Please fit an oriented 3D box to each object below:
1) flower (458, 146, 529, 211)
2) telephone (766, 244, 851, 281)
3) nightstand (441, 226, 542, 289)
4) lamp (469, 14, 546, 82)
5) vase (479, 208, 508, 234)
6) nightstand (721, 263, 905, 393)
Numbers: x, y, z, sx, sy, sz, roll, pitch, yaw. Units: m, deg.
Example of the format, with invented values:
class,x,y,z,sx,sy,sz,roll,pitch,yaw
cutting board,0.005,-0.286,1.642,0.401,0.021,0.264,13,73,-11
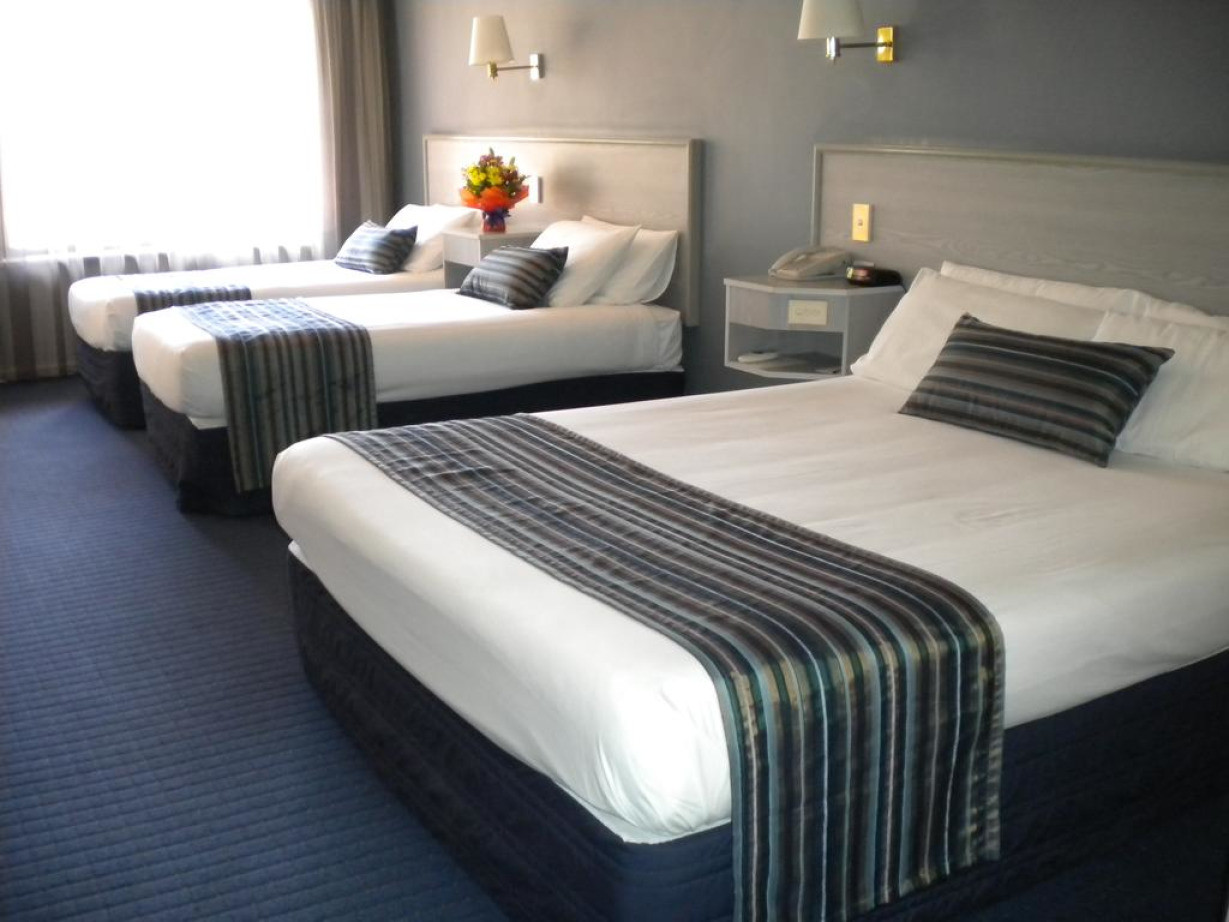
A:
class,x,y,z,sx,sy,sz,roll,pitch,yaw
flower,-0.774,-1.831,6.115,0.457,0.429,0.458,17,21,35
telephone,0.925,-0.911,4.259,0.242,0.123,0.369,24,32,38
nightstand,-0.833,-1.406,6.080,0.402,0.486,0.505,-9,18,-28
lamp,-0.769,-2.752,6.119,0.438,0.392,0.616,-9,27,-24
vase,-0.777,-1.576,6.092,0.184,0.194,0.172,-3,10,-24
nightstand,0.948,-0.617,4.342,0.621,0.420,0.807,-11,18,-33
